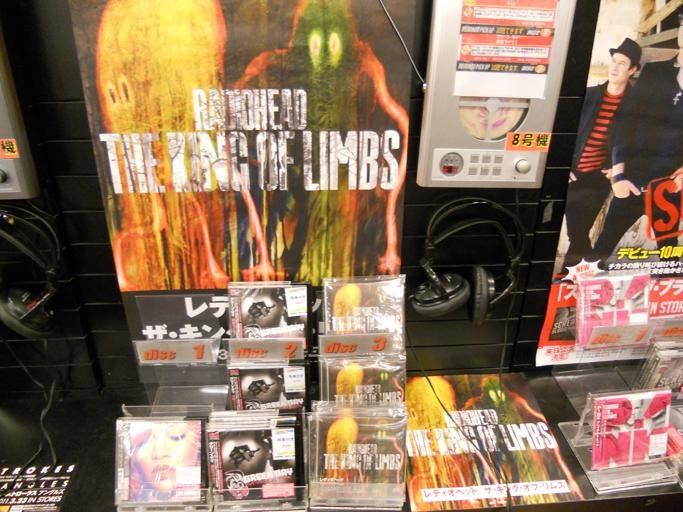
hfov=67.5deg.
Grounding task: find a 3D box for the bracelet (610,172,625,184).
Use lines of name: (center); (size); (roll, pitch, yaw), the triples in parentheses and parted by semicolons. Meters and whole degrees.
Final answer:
bracelet: (1.045, -0.291, 1.931); (0.037, 0.025, 0.034); (-2, 20, 6)
